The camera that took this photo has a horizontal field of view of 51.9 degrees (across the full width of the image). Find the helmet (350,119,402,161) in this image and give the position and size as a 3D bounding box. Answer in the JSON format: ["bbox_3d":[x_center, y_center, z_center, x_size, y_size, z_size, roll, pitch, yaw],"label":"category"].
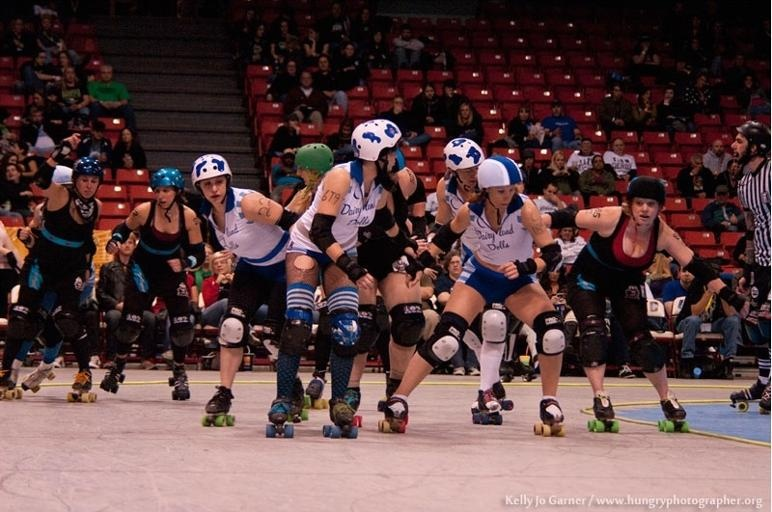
[{"bbox_3d":[-0.095,-1.031,7.028,0.395,0.399,0.208,1,-5,-11],"label":"helmet"}]
